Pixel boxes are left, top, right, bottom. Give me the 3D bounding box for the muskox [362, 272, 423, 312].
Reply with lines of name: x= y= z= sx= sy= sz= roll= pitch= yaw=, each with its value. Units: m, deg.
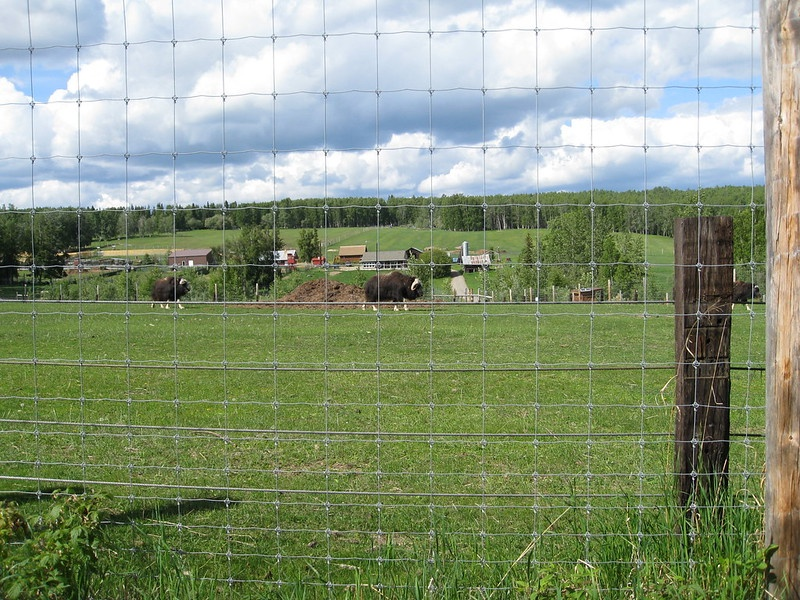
muskox: x=-0.305 y=-0.340 z=52.513 sx=2.313 sy=1.612 sz=0.783 roll=1 pitch=6 yaw=2
